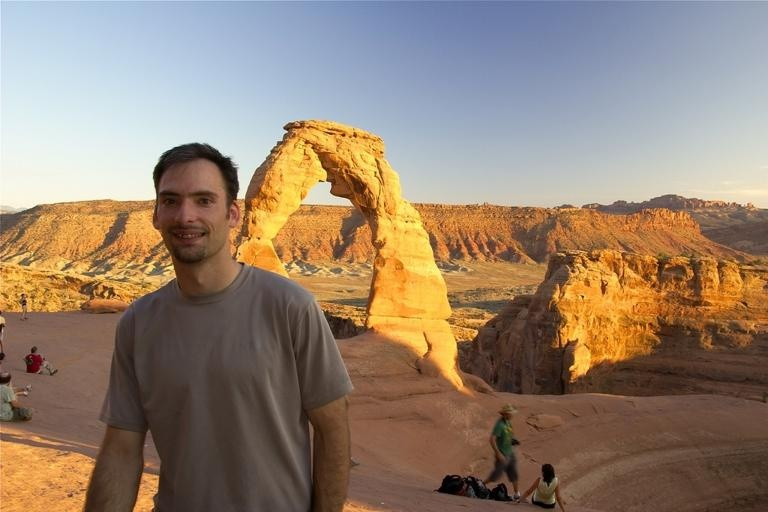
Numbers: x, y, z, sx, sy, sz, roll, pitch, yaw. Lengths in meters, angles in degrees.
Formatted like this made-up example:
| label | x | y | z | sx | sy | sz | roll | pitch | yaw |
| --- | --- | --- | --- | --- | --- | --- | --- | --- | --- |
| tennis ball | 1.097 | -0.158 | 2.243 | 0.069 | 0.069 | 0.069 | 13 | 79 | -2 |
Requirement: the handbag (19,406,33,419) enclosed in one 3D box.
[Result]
| label | x | y | z | sx | sy | sz | roll | pitch | yaw |
| --- | --- | --- | --- | --- | --- | --- | --- | --- | --- |
| handbag | -4.883 | 2.163 | 6.374 | 0.168 | 0.057 | 0.135 | 33 | 10 | 29 |
